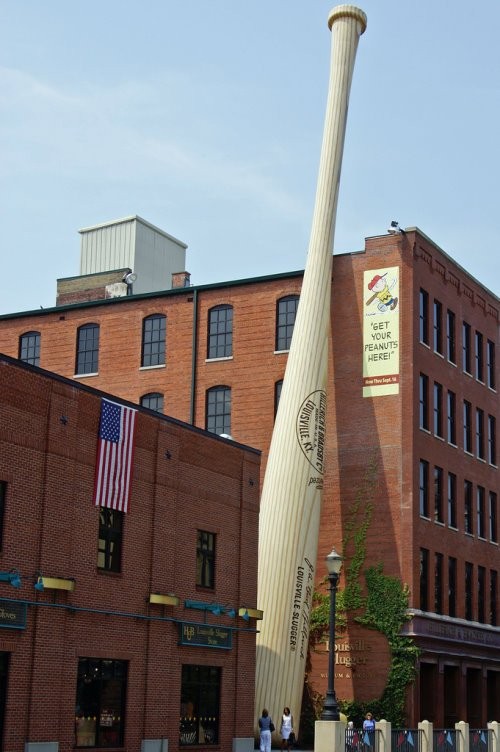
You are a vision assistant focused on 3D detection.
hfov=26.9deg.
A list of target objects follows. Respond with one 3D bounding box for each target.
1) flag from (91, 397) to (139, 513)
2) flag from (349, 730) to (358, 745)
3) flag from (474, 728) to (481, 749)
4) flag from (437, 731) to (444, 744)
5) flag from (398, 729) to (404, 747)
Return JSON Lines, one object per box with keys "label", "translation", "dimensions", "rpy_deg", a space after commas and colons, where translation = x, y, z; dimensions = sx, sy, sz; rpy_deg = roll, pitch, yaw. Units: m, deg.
{"label": "flag", "translation": [-3.525, 2.081, 26.617], "dimensions": [0.156, 2.611, 2.452], "rpy_deg": [-6, -17, 22]}
{"label": "flag", "translation": [2.376, 8.414, 24.150], "dimensions": [0.103, 0.310, 0.520], "rpy_deg": [-2, -15, 19]}
{"label": "flag", "translation": [6.939, 11.204, 32.145], "dimensions": [0.071, 0.669, 0.299], "rpy_deg": [-9, -46, 37]}
{"label": "flag", "translation": [5.266, 10.100, 29.101], "dimensions": [0.055, 0.316, 0.411], "rpy_deg": [-3, -15, 24]}
{"label": "flag", "translation": [3.744, 9.158, 26.333], "dimensions": [0.037, 0.313, 0.386], "rpy_deg": [-4, -16, 26]}
